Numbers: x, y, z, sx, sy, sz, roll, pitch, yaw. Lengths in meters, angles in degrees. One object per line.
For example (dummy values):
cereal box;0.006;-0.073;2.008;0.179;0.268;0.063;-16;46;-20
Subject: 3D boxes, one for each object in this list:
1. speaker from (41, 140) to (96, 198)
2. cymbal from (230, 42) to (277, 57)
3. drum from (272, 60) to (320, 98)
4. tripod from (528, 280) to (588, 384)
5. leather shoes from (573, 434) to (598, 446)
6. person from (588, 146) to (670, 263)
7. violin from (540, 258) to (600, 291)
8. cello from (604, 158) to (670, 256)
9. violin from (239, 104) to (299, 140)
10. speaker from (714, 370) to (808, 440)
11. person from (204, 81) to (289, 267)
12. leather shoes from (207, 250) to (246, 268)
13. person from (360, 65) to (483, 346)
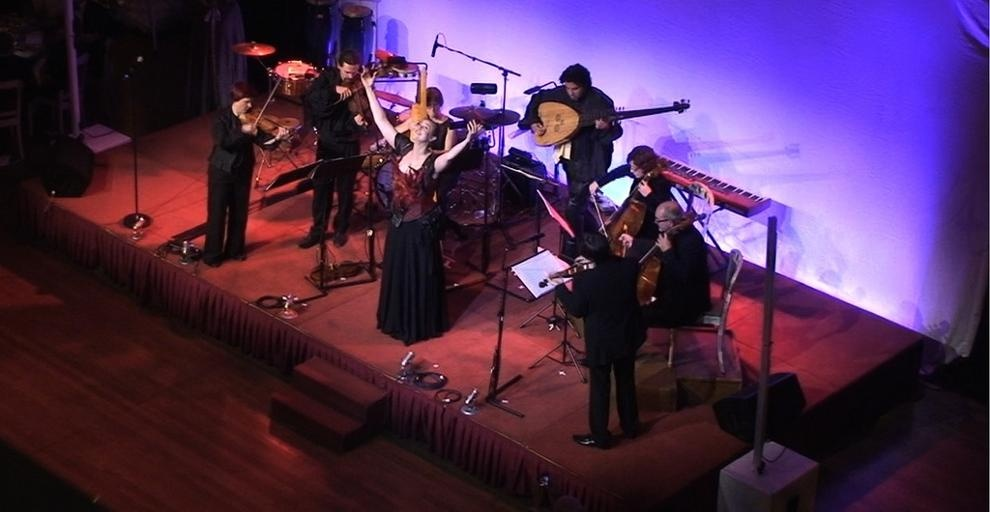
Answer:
speaker;-7.564;-1.572;11.494;0.772;0.732;1.215;-7;29;-33
cymbal;-4.684;-4.005;12.709;0.696;0.261;0.522;9;24;-2
drum;-3.858;-3.474;12.549;0.861;0.342;1.010;8;2;25
tripod;0.918;1.000;9.438;0.753;0.652;1.285;-2;54;9
leather shoes;1.143;2.351;8.330;0.348;0.130;0.114;9;64;6
person;2.150;-0.843;9.649;0.702;1.766;0.992;9;26;-11
violin;0.910;0.298;7.967;0.650;0.150;0.327;-22;7;13
cello;2.159;-0.826;9.667;0.641;1.648;0.897;7;21;-16
violin;-3.538;-1.978;10.065;0.883;0.426;0.247;4;60;-30
speaker;3.395;2.009;8.540;0.875;0.621;0.661;-6;5;-31
person;-4.022;-1.222;10.084;0.971;2.790;0.652;0;28;-23
leather shoes;-4.333;0.055;10.386;0.201;0.228;0.600;23;30;36
person;-1.119;-0.397;9.238;1.161;3.199;1.230;3;26;-17
